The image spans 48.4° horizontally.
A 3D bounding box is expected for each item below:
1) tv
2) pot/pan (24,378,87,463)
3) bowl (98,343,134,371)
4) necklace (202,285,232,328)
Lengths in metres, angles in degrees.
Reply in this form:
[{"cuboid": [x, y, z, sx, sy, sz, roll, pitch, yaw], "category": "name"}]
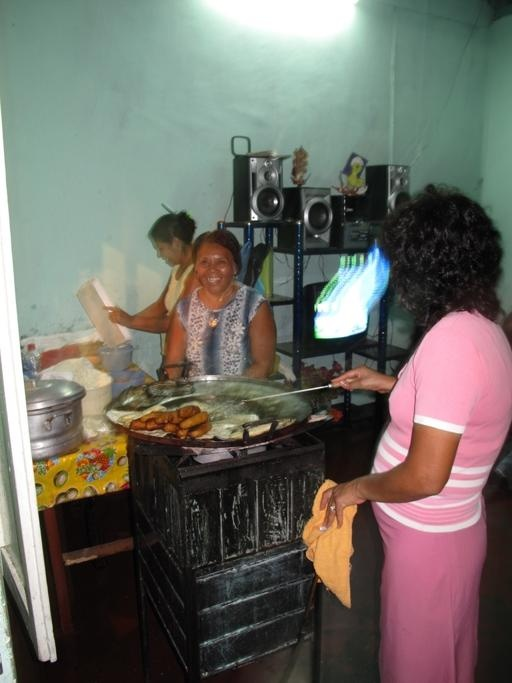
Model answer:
[{"cuboid": [0.491, -0.149, 3.687, 0.440, 0.384, 0.236, -15, 26, -37], "category": "tv"}, {"cuboid": [-0.620, 0.247, 1.857, 0.246, 0.203, 0.228, 5, 17, 12], "category": "pot/pan"}, {"cuboid": [-0.676, 0.070, 2.771, 0.138, 0.081, 0.132, 0, 7, 0], "category": "bowl"}, {"cuboid": [-0.180, -0.150, 2.693, 0.107, 0.140, 0.054, 17, 0, 34], "category": "necklace"}]
